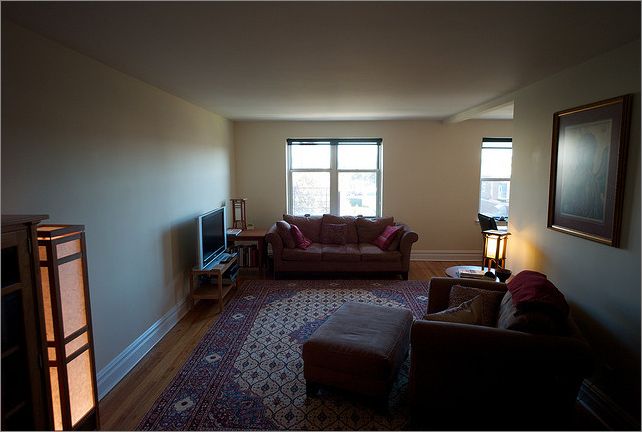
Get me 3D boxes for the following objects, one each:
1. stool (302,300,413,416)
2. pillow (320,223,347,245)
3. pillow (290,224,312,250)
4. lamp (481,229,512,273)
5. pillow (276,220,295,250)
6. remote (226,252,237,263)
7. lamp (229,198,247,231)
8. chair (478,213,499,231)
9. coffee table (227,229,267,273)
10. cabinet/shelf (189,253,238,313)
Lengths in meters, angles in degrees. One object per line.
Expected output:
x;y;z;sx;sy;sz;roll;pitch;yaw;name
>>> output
0.344;1.241;3.967;0.744;0.499;1.065;2;9;21;stool
0.204;0.306;6.804;0.294;0.298;0.112;3;-14;6;pillow
-0.375;0.348;6.548;0.106;0.353;0.369;-30;-26;16;pillow
2.215;0.446;5.250;0.298;0.512;0.442;2;9;38;lamp
-0.571;0.294;6.486;0.283;0.417;0.218;-5;7;-7;pillow
-1.303;0.596;5.953;0.130;0.037;0.151;3;14;1;remote
-1.443;-0.050;7.235;0.292;0.525;0.540;-5;7;-12;lamp
2.263;0.093;5.606;0.183;0.212;0.386;-2;7;14;chair
-1.225;0.530;6.845;0.660;0.662;0.659;0;3;-4;coffee table
-1.478;0.631;5.653;0.504;0.730;1.476;-1;8;-3;cabinet/shelf
